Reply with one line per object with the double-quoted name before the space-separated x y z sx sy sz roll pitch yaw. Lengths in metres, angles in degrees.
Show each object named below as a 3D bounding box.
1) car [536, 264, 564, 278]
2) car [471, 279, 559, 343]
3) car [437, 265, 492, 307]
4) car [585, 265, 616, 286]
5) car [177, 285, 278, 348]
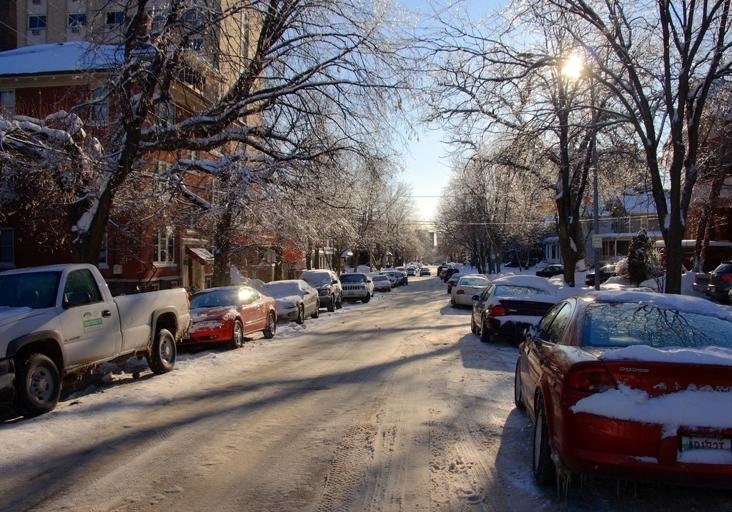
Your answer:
"car" 17.294 1.432 55.177 1.772 1.154 1.191 4 0 13
"car" 3.904 1.527 16.182 1.176 1.038 2.832 -1 2 4
"car" 4.649 1.574 27.660 1.445 1.276 3.489 -1 3 4
"car" 15.654 1.330 39.104 2.299 1.442 1.401 0 -1 -7
"car" -3.818 1.774 16.322 1.711 1.582 3.016 1 6 9
